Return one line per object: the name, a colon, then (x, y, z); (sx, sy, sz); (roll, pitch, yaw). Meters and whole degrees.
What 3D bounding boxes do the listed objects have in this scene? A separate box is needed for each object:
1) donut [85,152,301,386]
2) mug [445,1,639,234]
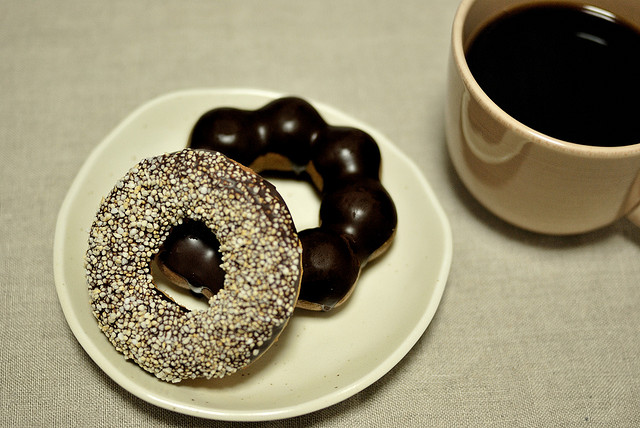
donut: (-0.245, 0.101, 1.304); (0.420, 0.133, 0.422); (-11, 71, -2)
mug: (0.440, -0.221, 1.333); (0.401, 0.262, 0.444); (11, 72, 6)
